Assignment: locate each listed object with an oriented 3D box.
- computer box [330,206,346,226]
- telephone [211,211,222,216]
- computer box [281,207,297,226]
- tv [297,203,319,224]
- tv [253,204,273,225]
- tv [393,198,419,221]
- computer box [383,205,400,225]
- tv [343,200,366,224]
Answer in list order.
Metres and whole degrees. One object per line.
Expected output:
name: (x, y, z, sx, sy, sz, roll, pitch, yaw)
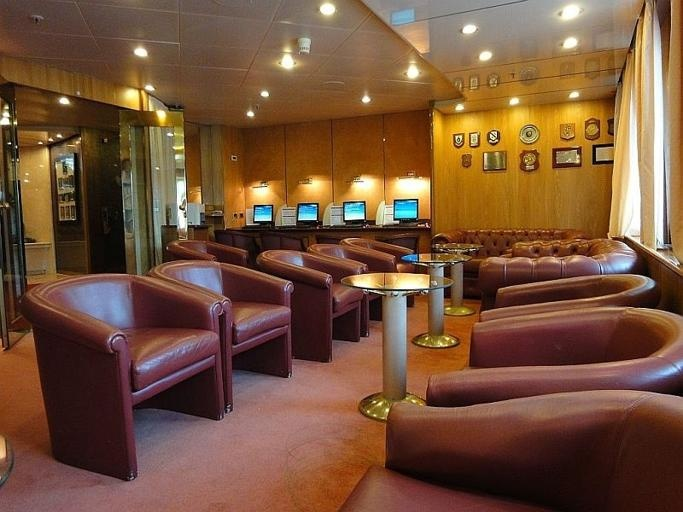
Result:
computer box: (-0.150, -0.728, 9.606, 0.303, 0.442, 0.320, 0, -2, -6)
telephone: (-2.344, -0.792, 9.915, 0.141, 0.043, 0.106, -2, 38, 9)
computer box: (-1.011, -0.745, 9.898, 0.308, 0.434, 0.322, 0, 1, -4)
tv: (-0.653, -0.783, 9.900, 0.373, 0.382, 0.125, 0, -7, 3)
tv: (-1.543, -0.792, 10.249, 0.369, 0.374, 0.132, 1, -5, 2)
tv: (1.079, -0.783, 9.045, 0.352, 0.346, 0.143, 0, -5, 7)
computer box: (0.822, -0.712, 9.156, 0.386, 0.374, 0.278, 2, 9, 13)
tv: (0.212, -0.780, 9.468, 0.375, 0.404, 0.127, 5, 2, 3)
